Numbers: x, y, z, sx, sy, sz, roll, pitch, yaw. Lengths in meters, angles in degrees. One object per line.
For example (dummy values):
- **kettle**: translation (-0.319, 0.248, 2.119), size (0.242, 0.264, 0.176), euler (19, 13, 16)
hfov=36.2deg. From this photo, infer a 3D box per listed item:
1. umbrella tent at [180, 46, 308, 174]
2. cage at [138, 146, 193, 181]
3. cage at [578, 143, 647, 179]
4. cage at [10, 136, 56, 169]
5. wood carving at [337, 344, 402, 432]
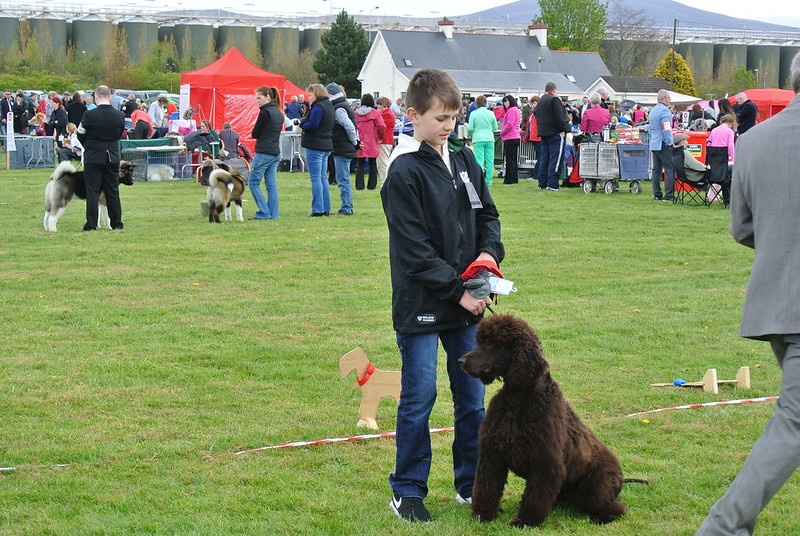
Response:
- **umbrella tent**: translation (-4.593, -4.977, 35.928), size (3.433, 3.465, 3.496), euler (-8, 13, -34)
- **cage**: translation (-6.257, -2.616, 32.891), size (1.452, 1.099, 0.890), euler (-2, -16, 19)
- **cage**: translation (5.001, -2.483, 28.585), size (0.951, 0.729, 1.068), euler (2, 5, 17)
- **cage**: translation (-10.552, -3.269, 35.417), size (1.156, 0.940, 0.642), euler (1, 10, -28)
- **wood carving**: translation (-0.407, 1.616, 16.041), size (1.017, 1.223, 0.257), euler (-1, 2, -18)
